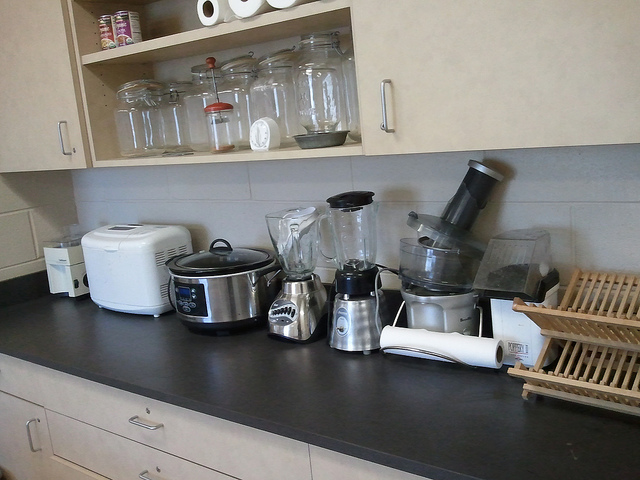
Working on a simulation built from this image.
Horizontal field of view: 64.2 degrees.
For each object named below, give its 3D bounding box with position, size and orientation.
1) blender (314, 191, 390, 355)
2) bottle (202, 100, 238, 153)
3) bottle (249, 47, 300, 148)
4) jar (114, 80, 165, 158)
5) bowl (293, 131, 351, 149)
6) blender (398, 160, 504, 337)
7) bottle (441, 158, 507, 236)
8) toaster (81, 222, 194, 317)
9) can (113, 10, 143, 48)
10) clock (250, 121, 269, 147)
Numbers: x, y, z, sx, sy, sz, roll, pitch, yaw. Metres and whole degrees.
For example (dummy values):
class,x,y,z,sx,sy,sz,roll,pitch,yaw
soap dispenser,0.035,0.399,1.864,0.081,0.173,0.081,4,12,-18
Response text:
class,x,y,z,sx,sy,sz,roll,pitch,yaw
blender,0.098,0.078,1.708,0.231,0.486,0.433,-3,14,1
bottle,-0.346,-0.402,1.800,0.101,0.185,0.200,-5,14,-8
bottle,-0.160,-0.471,1.719,0.168,0.315,0.240,-5,15,-6
jar,-0.675,-0.465,1.974,0.194,0.275,0.149,11,22,30
bowl,0.006,-0.301,1.540,0.156,0.050,0.055,-1,14,1
blender,0.381,0.029,1.528,0.290,0.521,0.282,2,16,16
bottle,0.448,-0.123,1.514,0.168,0.218,0.064,0,17,10
toaster,-0.737,0.117,2.135,0.402,0.352,0.282,7,17,34
can,-0.707,-0.777,1.886,0.083,0.116,0.062,-8,16,-19
clock,-0.192,-0.337,1.625,0.081,0.066,0.021,9,7,30
